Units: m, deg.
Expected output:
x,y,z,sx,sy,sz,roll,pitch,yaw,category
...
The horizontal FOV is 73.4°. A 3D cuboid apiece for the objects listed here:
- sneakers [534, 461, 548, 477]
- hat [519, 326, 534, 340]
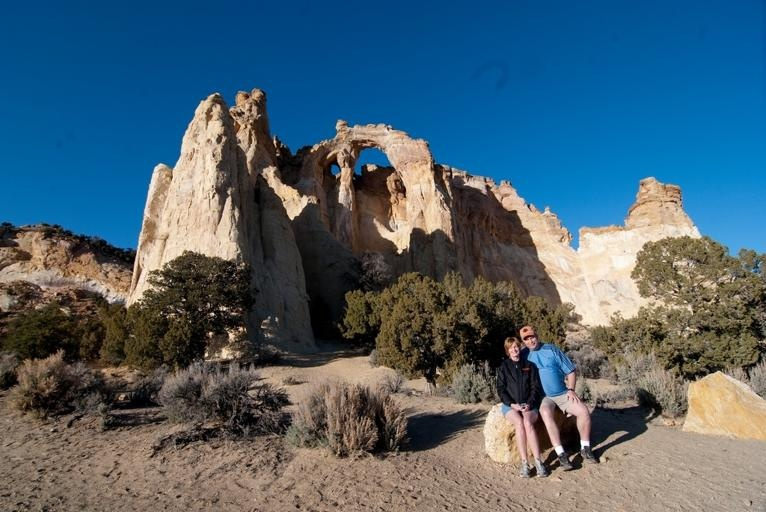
x,y,z,sx,sy,sz,roll,pitch,yaw,category
4.110,5.479,13.254,0.281,0.444,0.185,-13,-23,-5,sneakers
4.014,2.080,14.140,0.302,0.274,0.505,-16,-24,16,hat
